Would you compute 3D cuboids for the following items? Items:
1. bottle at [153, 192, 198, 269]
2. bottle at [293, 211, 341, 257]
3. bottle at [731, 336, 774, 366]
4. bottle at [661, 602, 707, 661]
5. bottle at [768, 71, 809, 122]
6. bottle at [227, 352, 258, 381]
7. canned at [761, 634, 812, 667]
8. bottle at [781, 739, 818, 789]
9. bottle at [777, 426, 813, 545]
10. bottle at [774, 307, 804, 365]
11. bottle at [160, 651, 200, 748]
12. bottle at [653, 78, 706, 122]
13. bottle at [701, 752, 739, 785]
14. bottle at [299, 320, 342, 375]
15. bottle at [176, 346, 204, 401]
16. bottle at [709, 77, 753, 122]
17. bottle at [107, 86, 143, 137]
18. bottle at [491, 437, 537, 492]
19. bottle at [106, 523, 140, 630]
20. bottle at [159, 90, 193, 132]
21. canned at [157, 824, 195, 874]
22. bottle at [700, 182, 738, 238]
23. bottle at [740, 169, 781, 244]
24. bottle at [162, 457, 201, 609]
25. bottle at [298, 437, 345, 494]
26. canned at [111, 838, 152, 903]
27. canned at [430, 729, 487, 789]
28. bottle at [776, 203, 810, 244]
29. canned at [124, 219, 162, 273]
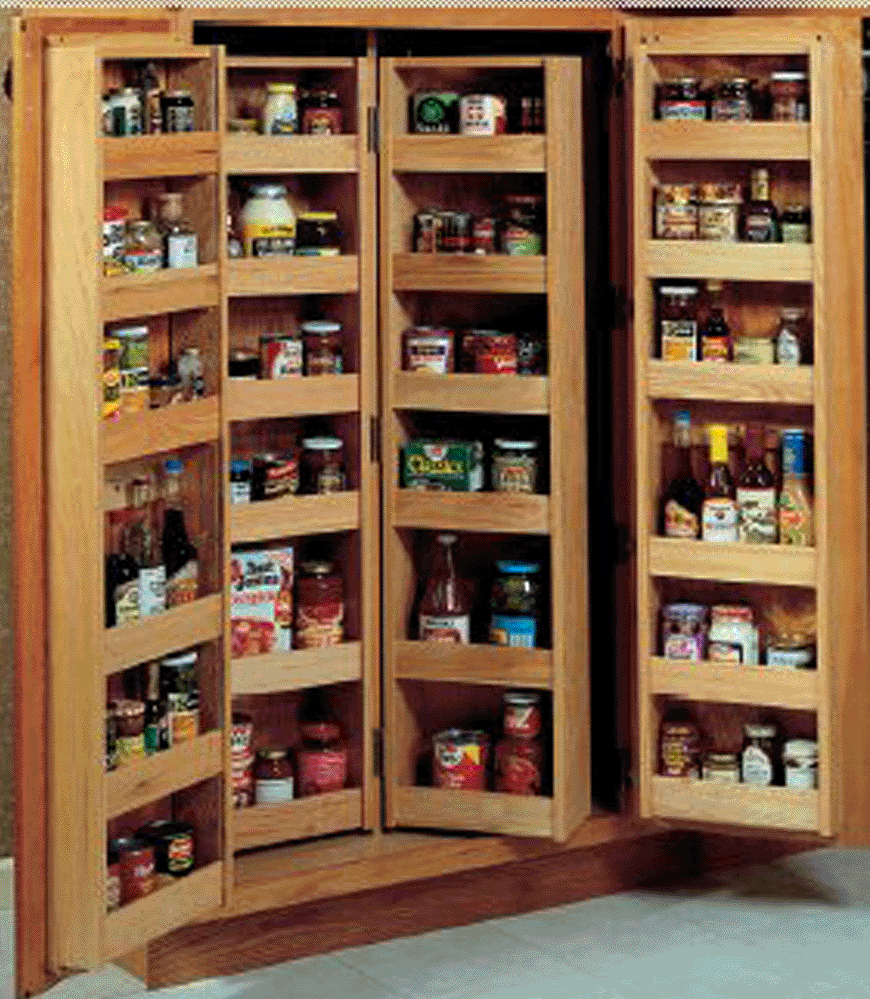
[{"bbox_3d":[-0.454,-0.478,2.319,0.071,0.145,0.183,-7,9,-11],"label":"bottle"},{"bbox_3d":[-0.242,-0.552,2.763,0.109,0.093,0.107,-1,4,-4],"label":"bottle"},{"bbox_3d":[0.639,-0.300,2.632,0.067,0.056,0.065,-7,11,-42],"label":"bottle"},{"bbox_3d":[0.517,0.274,2.729,0.111,0.105,0.110,0,-4,2],"label":"bottle"},{"bbox_3d":[0.687,-0.779,2.541,0.071,0.110,0.097,-3,9,15],"label":"bottle"},{"bbox_3d":[-0.392,-0.269,2.655,0.059,0.035,0.055,0,-1,0],"label":"bottle"},{"bbox_3d":[0.727,0.304,2.712,0.076,0.058,0.073,-4,6,-37],"label":"canned"},{"bbox_3d":[0.751,0.541,2.688,0.081,0.080,0.087,0,-6,5],"label":"bottle"},{"bbox_3d":[0.722,-0.024,2.632,0.071,0.226,0.104,-3,9,14],"label":"bottle"},{"bbox_3d":[0.710,-0.328,2.633,0.058,0.110,0.159,-3,9,15],"label":"bottle"},{"bbox_3d":[-0.467,0.356,2.366,0.042,0.150,0.111,-1,10,26],"label":"bottle"},{"bbox_3d":[0.481,-0.785,2.609,0.112,0.100,0.066,3,8,18],"label":"bottle"},{"bbox_3d":[0.598,0.561,2.753,0.062,0.060,0.066,1,-3,-4],"label":"bottle"},{"bbox_3d":[-0.237,-0.322,2.750,0.112,0.136,0.110,-1,3,-8],"label":"bottle"},{"bbox_3d":[-0.438,-0.226,2.357,0.052,0.091,0.098,-7,9,-10],"label":"bottle"},{"bbox_3d":[0.587,-0.782,2.591,0.082,0.092,0.126,-3,9,13],"label":"bottle"},{"bbox_3d":[-0.526,-0.656,2.227,0.069,0.099,0.111,-1,15,-11],"label":"bottle"},{"bbox_3d":[0.182,-0.075,2.749,0.115,0.109,0.105,2,2,6],"label":"bottle"},{"bbox_3d":[-0.538,0.126,2.242,0.062,0.157,0.161,-7,9,-13],"label":"bottle"},{"bbox_3d":[-0.449,-0.677,2.298,0.054,0.073,0.051,-5,9,1],"label":"bottle"},{"bbox_3d":[-0.467,0.625,2.369,0.080,0.078,0.075,1,3,1],"label":"canned"},{"bbox_3d":[0.573,-0.576,2.640,0.085,0.118,0.126,-3,9,13],"label":"bottle"},{"bbox_3d":[0.647,-0.586,2.626,0.075,0.153,0.188,-3,9,14],"label":"bottle"},{"bbox_3d":[-0.473,0.054,2.408,0.066,0.257,0.145,-7,9,-11],"label":"bottle"},{"bbox_3d":[-0.238,-0.073,2.773,0.102,0.137,0.120,-1,3,-14],"label":"bottle"},{"bbox_3d":[-0.518,0.638,2.274,0.093,0.089,0.087,1,3,5],"label":"canned"},{"bbox_3d":[0.056,0.564,2.890,0.124,0.116,0.117,1,-2,7],"label":"canned"},{"bbox_3d":[0.703,-0.535,2.556,0.057,0.075,0.057,-5,9,1],"label":"bottle"},{"bbox_3d":[-0.496,-0.426,2.225,0.072,0.082,0.092,0,2,-1],"label":"canned"}]
